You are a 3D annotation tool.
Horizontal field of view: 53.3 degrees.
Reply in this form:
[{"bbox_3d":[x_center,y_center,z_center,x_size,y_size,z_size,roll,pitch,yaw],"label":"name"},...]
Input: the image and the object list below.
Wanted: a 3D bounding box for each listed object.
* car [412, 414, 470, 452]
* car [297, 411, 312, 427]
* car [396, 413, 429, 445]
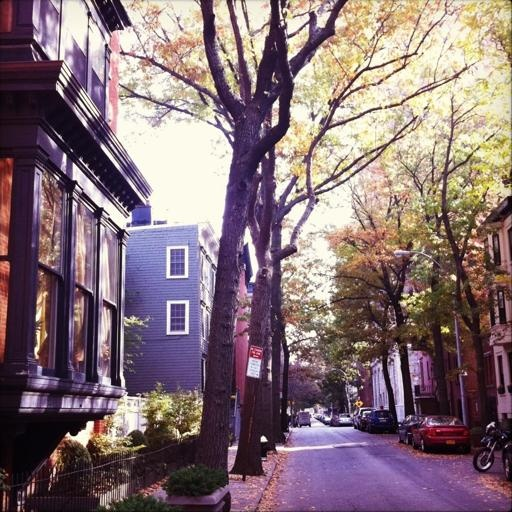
[{"bbox_3d":[8.440,8.250,23.771,1.193,1.159,3.086,0,-17,6],"label":"car"},{"bbox_3d":[7.568,25.607,79.873,2.015,2.245,2.982,-3,-20,4],"label":"car"},{"bbox_3d":[8.917,9.964,29.207,1.270,1.147,2.771,0,-19,2],"label":"car"}]
